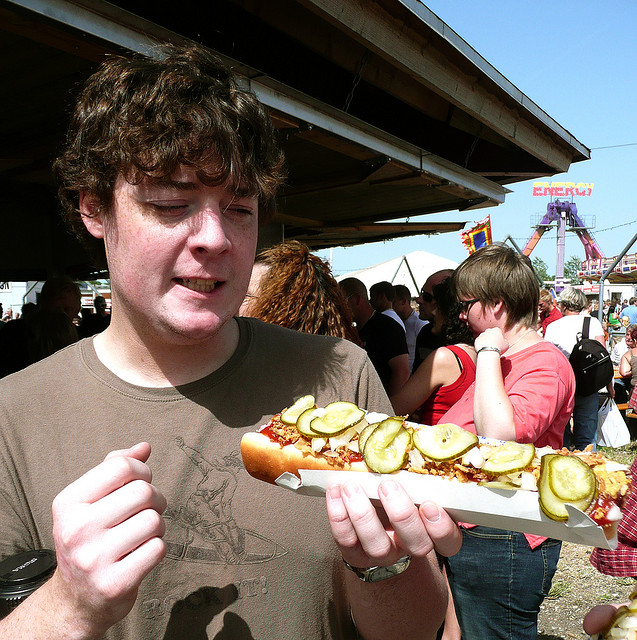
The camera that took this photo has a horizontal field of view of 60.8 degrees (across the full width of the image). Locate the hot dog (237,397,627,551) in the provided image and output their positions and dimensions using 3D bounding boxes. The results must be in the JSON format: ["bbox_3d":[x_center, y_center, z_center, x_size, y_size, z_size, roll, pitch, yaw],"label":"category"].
[{"bbox_3d":[0.332,0.457,1.650,1.048,0.242,0.406,9,18,11],"label":"hot dog"}]

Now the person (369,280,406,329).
[{"bbox_3d":[1.033,-0.252,8.157,0.527,0.848,0.833,-1,1,21],"label":"person"}]

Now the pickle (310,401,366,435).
[{"bbox_3d":[0.059,0.299,1.628,0.115,0.017,0.091,-16,28,-2],"label":"pickle"}]

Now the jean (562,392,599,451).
[{"bbox_3d":[3.819,1.486,7.874,0.334,0.942,0.701,3,6,33],"label":"jean"}]

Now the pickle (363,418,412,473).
[{"bbox_3d":[0.194,0.368,1.555,0.159,0.146,0.122,3,9,-4],"label":"pickle"}]

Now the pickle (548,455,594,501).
[{"bbox_3d":[0.653,0.419,1.420,0.096,0.098,0.088,5,7,-1],"label":"pickle"}]

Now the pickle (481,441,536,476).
[{"bbox_3d":[0.547,0.392,1.544,0.122,0.074,0.183,4,6,36],"label":"pickle"}]
